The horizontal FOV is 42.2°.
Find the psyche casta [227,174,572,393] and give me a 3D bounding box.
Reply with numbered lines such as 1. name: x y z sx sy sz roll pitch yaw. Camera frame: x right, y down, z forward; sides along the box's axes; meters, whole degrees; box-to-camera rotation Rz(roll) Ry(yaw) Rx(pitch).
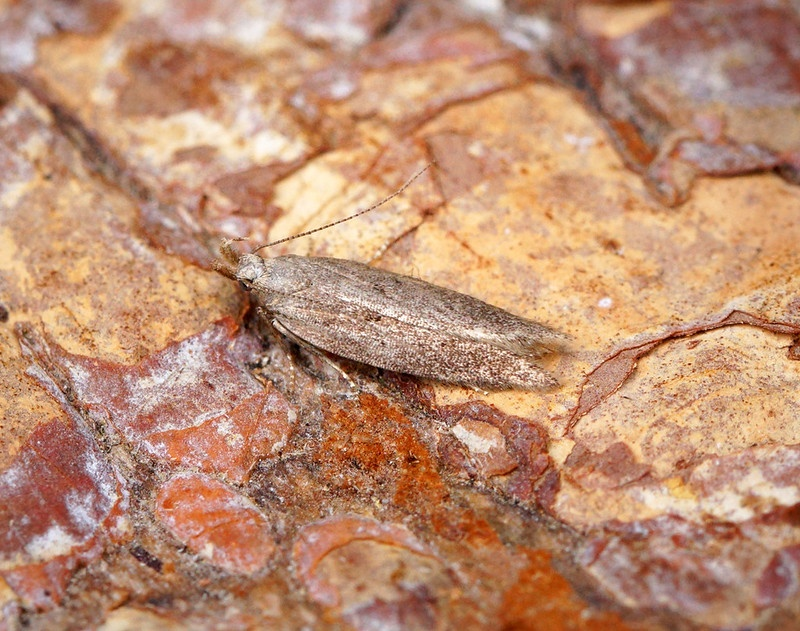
1. psyche casta: -0.040 0.071 5.815 1.909 0.373 0.608 16 84 4
